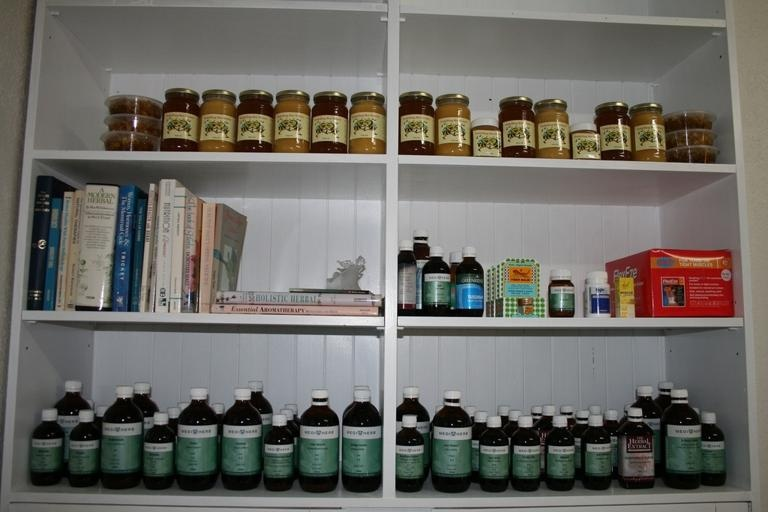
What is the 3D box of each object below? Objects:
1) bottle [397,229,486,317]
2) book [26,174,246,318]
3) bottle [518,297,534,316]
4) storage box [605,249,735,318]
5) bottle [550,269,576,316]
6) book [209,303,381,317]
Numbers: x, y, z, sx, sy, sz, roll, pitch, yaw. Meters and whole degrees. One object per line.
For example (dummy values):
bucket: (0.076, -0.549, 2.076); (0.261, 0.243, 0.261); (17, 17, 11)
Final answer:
bottle: (0.207, 0.082, 2.124); (0.205, 0.215, 0.057); (-1, -7, -4)
book: (-0.795, -0.030, 2.147); (0.608, 0.428, 0.172); (0, -7, -5)
bottle: (0.445, 0.159, 2.108); (0.058, 0.051, 0.055); (1, -5, 5)
storage box: (0.951, 0.086, 2.143); (0.266, 0.164, 0.266); (1, -1, -6)
bottle: (0.570, 0.121, 2.173); (0.081, 0.154, 0.064); (-2, -7, 11)
book: (-0.275, 0.168, 2.066); (0.508, 0.046, 0.047); (-1, -6, 4)
